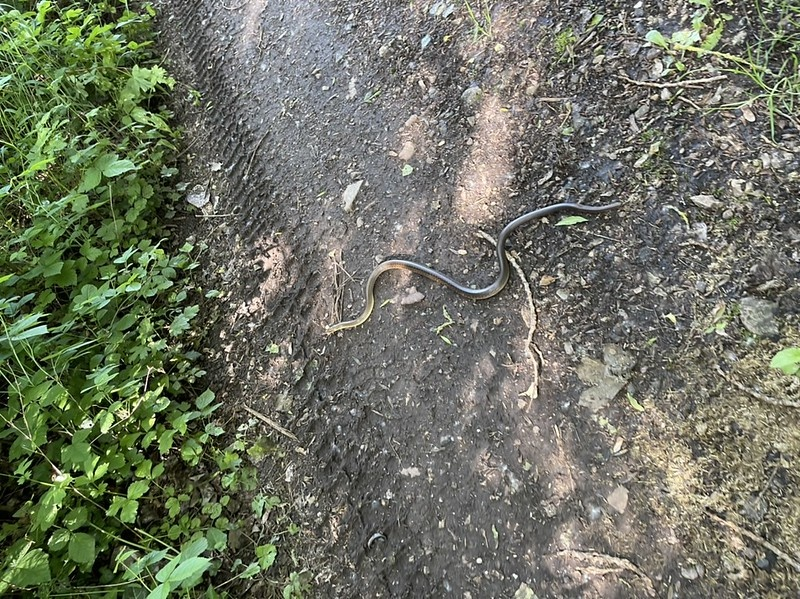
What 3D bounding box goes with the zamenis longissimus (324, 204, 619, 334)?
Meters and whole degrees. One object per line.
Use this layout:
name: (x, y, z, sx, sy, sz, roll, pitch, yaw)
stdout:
zamenis longissimus: (0.634, -0.316, 6.278, 3.040, 0.374, 0.651, -22, 59, 18)
